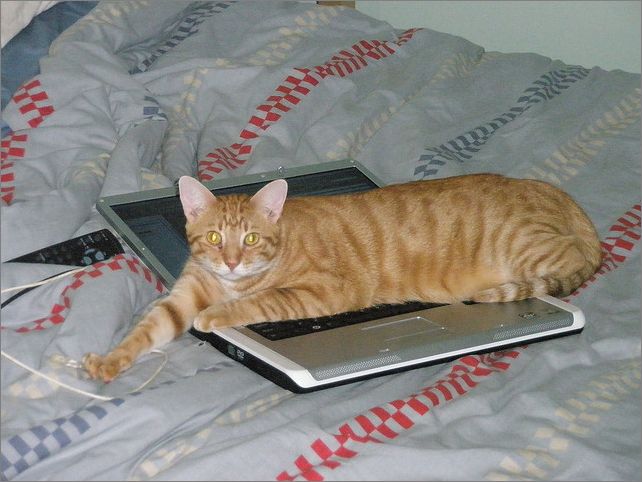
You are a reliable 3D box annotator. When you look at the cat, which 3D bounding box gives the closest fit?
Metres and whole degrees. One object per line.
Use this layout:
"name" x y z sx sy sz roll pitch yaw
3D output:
"cat" 0.219 0.042 2.163 1.768 0.405 0.650 -9 10 -6
